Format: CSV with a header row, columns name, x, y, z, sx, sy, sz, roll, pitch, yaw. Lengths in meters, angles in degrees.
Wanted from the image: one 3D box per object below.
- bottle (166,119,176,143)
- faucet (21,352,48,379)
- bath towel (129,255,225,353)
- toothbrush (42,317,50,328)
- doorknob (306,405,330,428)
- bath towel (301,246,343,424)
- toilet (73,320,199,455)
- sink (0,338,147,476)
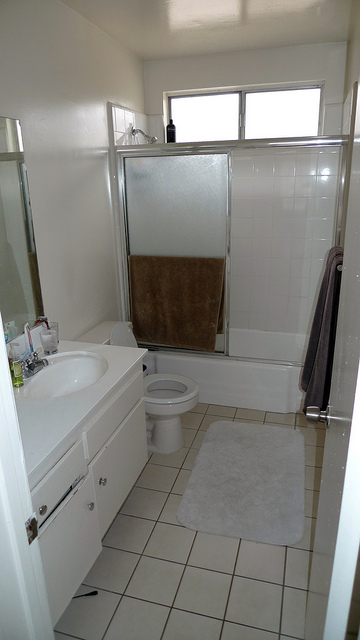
name,x,y,z,sx,sy,sz,roll,pitch,yaw
bottle,-0.073,-1.476,3.164,0.060,0.142,0.067,5,15,25
faucet,-0.658,0.202,1.810,0.065,0.039,0.108,6,22,-5
bath towel,-0.037,-0.191,3.070,0.685,0.761,0.282,4,41,2
toothbrush,-0.676,0.009,2.042,0.012,0.050,0.033,-23,10,0
doorknob,0.339,0.241,0.999,0.052,0.071,0.061,3,15,16
bath towel,0.744,0.104,2.031,0.125,0.772,0.529,8,14,20
toilet,-0.204,0.443,2.588,0.597,0.795,0.426,0,17,12
sink,-0.490,0.370,1.706,0.290,0.119,0.513,6,21,9
